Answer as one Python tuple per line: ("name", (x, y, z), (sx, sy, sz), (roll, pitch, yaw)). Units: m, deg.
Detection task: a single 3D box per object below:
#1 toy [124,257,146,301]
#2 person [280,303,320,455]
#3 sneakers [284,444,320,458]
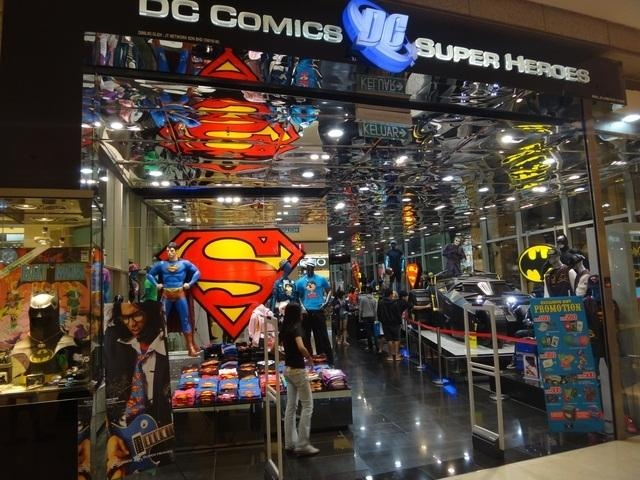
("toy", (-3.143, 0.668, 8.321), (0.265, 0.651, 0.463), (-4, 2, -16))
("person", (-0.297, 1.748, 6.226), (0.502, 1.500, 0.338), (-3, 2, 21))
("sneakers", (-0.223, 2.644, 6.233), (0.464, 0.159, 0.158), (-1, -11, -4))
